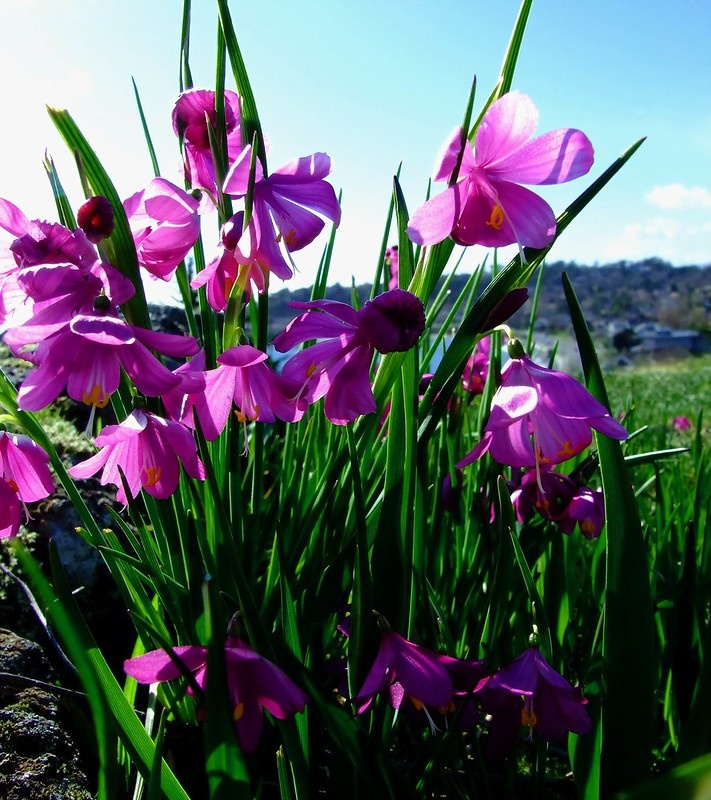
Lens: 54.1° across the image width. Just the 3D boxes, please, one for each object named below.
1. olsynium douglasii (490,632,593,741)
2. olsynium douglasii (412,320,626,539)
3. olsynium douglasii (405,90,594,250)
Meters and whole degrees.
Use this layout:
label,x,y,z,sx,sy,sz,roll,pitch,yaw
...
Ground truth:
label,x,y,z,sx,sy,sz,roll,pitch,yaw
olsynium douglasii,0.270,0.444,1.022,0.143,0.125,0.077,1,12,-2
olsynium douglasii,0.321,0.079,1.201,0.238,0.377,0.399,5,14,18
olsynium douglasii,0.213,-0.342,1.045,0.266,0.217,0.078,2,11,1
